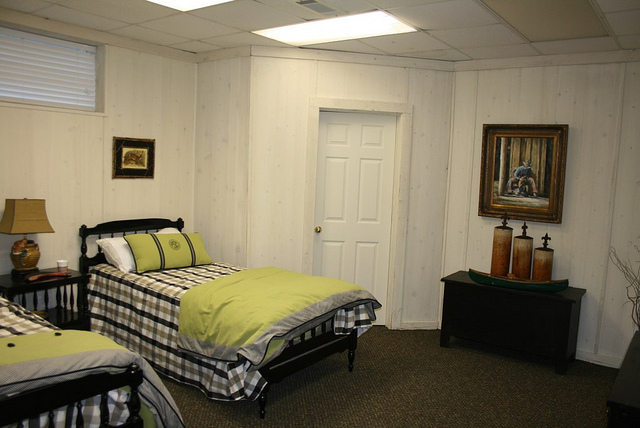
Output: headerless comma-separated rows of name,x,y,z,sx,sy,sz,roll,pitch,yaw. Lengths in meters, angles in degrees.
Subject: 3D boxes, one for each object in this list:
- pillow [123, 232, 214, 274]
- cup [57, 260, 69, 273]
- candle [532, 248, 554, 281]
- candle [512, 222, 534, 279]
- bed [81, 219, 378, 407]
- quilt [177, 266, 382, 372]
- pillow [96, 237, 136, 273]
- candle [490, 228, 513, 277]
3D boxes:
pillow,-1.752,0.428,5.239,0.959,0.376,0.389,-1,13,-44
cup,-2.801,0.577,4.896,0.132,0.112,0.141,1,-4,0
candle,2.545,0.586,5.128,0.198,0.360,0.216,7,13,24
candle,2.359,0.503,5.223,0.189,0.470,0.138,4,12,10
bed,-1.241,0.941,4.873,2.705,1.306,1.765,6,7,37
quilt,-0.533,0.983,4.479,1.112,0.554,1.540,12,15,41
pillow,-2.285,0.469,5.054,0.112,0.410,0.390,-38,-33,19
candle,2.155,0.446,5.318,0.202,0.537,0.255,6,13,20
